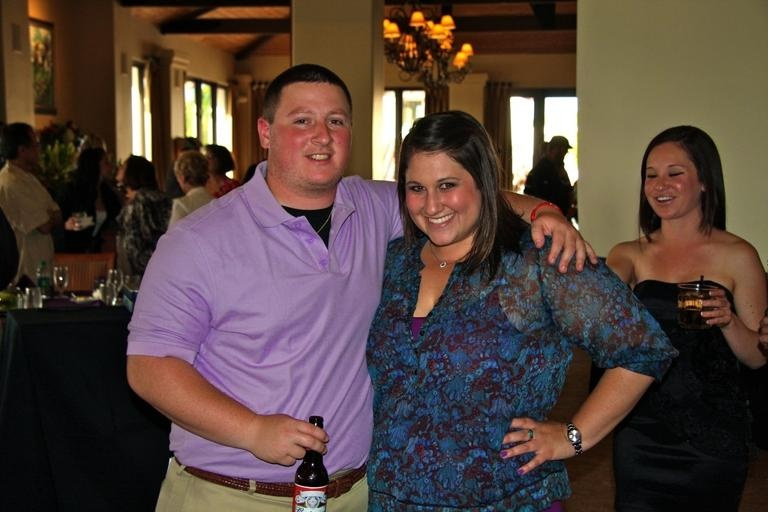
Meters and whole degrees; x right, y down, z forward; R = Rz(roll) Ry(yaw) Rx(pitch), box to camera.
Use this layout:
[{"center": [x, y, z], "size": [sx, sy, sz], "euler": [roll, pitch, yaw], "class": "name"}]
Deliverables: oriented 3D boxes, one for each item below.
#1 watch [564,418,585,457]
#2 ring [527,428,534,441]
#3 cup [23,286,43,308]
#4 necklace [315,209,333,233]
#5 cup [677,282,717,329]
[{"center": [0.668, 0.635, 2.304], "size": [0.058, 0.103, 0.087], "euler": [-10, -10, 8], "class": "watch"}, {"center": [0.511, 0.617, 2.291], "size": [0.006, 0.028, 0.027], "euler": [4, 3, -5], "class": "ring"}, {"center": [-2.305, 0.270, 4.308], "size": [0.120, 0.184, 0.113], "euler": [0, -3, 0], "class": "cup"}, {"center": [-0.245, -0.136, 2.583], "size": [0.065, 0.099, 0.028], "euler": [-4, -14, 5], "class": "necklace"}, {"center": [1.426, 0.221, 3.049], "size": [0.180, 0.223, 0.196], "euler": [1, -6, 0], "class": "cup"}]
